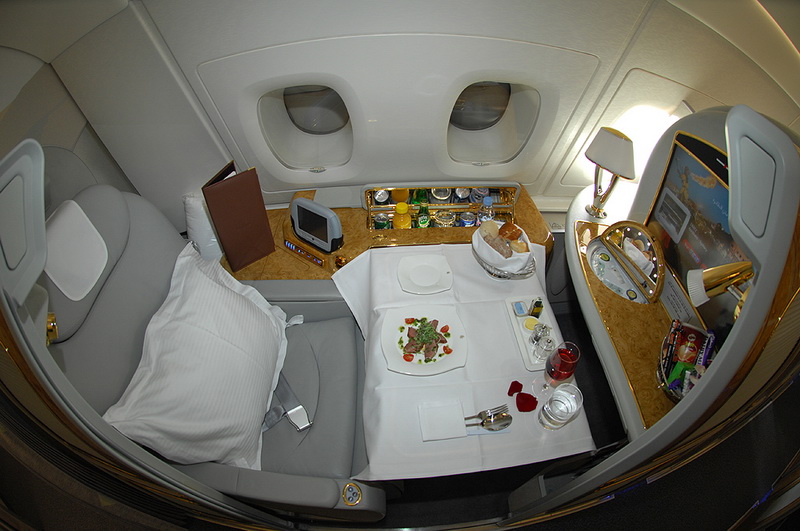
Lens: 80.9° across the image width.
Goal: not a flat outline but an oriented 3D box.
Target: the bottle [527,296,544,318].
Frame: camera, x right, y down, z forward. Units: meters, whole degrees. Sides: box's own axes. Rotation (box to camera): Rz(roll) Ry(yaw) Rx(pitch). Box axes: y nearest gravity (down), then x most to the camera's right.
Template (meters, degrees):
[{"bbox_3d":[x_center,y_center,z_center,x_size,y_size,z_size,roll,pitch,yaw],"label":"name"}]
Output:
[{"bbox_3d":[0.529,0.163,1.820,0.044,0.081,0.043,9,41,-8],"label":"bottle"}]

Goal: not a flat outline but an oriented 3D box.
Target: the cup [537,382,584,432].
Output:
[{"bbox_3d":[0.586,0.507,1.629,0.118,0.130,0.065,-2,27,-22],"label":"cup"}]

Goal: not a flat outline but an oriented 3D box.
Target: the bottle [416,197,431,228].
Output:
[{"bbox_3d":[0.114,-0.249,2.234,0.073,0.084,0.166,-4,37,2],"label":"bottle"}]

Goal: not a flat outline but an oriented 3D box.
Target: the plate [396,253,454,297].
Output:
[{"bbox_3d":[0.104,0.018,1.879,0.157,0.025,0.176,2,52,1],"label":"plate"}]

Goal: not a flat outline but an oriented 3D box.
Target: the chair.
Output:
[{"bbox_3d":[-0.622,0.296,1.562,1.161,0.768,0.890,11,64,-13],"label":"chair"}]

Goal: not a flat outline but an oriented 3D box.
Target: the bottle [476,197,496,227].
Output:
[{"bbox_3d":[0.418,-0.296,2.228,0.072,0.120,0.215,4,38,14],"label":"bottle"}]

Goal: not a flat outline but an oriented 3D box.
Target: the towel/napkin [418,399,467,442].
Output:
[{"bbox_3d":[0.147,0.487,1.538,0.114,0.033,0.122,0,59,-7],"label":"towel/napkin"}]

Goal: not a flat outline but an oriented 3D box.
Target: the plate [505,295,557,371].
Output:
[{"bbox_3d":[0.512,0.255,1.812,0.137,0.104,0.290,-4,52,0],"label":"plate"}]

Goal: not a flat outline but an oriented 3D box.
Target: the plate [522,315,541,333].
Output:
[{"bbox_3d":[0.505,0.210,1.770,0.050,0.019,0.054,-1,50,2],"label":"plate"}]

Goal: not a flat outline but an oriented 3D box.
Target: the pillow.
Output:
[{"bbox_3d":[-0.647,0.319,1.654,0.574,0.203,0.797,30,40,-32],"label":"pillow"}]

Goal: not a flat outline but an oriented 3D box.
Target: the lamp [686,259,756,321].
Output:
[{"bbox_3d":[1.053,0.089,1.588,0.171,0.258,0.138,-2,35,6],"label":"lamp"}]

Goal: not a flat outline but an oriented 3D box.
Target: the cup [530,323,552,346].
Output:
[{"bbox_3d":[0.523,0.257,1.763,0.084,0.091,0.054,2,53,3],"label":"cup"}]

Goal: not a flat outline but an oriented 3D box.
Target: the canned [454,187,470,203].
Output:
[{"bbox_3d":[0.312,-0.355,2.304,0.081,0.058,0.072,-1,36,7],"label":"canned"}]

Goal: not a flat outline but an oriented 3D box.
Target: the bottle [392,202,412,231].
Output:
[{"bbox_3d":[0.014,-0.226,2.188,0.090,0.166,0.098,-1,57,2],"label":"bottle"}]
